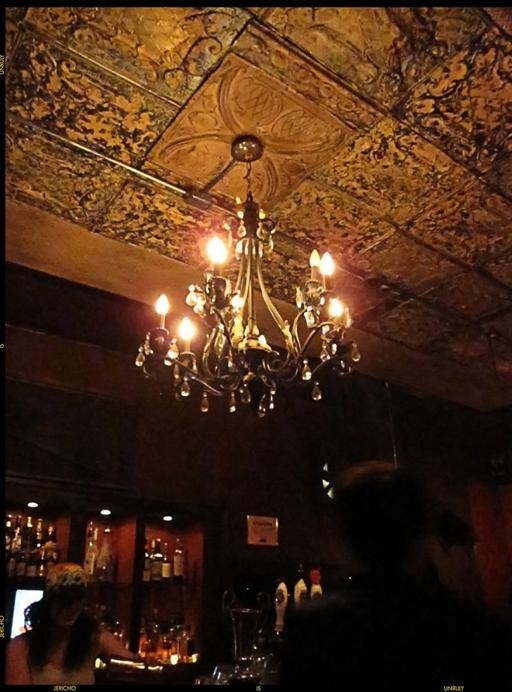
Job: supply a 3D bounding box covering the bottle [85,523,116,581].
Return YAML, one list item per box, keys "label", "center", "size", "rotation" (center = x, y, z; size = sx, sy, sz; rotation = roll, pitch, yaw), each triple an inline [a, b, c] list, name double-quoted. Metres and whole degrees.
- label: "bottle"
  center: [-0.720, 0.959, 2.434]
  size: [0.130, 0.300, 0.105]
  rotation: [28, -44, -36]

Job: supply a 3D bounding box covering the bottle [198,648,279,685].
- label: "bottle"
  center: [-0.046, 1.357, 2.212]
  size: [0.265, 0.109, 0.400]
  rotation: [2, -25, -8]
